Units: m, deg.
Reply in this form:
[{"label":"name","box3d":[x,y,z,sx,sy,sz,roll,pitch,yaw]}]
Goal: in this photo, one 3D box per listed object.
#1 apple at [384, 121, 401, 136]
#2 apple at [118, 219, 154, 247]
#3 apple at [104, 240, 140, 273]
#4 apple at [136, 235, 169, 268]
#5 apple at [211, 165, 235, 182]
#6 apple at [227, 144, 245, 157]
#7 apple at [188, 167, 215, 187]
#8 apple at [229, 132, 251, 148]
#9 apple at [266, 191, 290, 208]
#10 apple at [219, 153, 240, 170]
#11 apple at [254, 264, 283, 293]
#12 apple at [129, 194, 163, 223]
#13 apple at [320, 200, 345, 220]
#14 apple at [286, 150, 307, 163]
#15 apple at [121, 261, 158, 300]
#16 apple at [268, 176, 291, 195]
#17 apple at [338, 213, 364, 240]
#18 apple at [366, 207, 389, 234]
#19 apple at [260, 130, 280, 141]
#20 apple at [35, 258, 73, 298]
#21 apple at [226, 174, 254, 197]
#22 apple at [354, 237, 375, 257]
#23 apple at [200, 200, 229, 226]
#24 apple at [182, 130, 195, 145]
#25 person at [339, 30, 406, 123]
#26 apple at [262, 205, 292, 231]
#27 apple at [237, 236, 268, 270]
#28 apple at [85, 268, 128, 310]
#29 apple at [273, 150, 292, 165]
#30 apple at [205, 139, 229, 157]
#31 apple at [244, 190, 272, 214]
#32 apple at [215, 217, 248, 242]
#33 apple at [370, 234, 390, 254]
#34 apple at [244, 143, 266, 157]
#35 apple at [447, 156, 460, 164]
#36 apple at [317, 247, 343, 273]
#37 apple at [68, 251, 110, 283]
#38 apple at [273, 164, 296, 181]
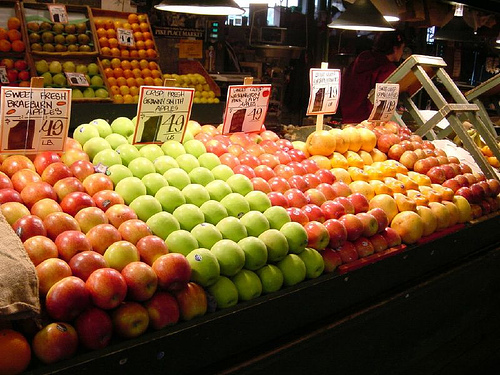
[{"label":"apple","box3d":[1.305,-0.539,3.228,0.140,0.092,0.166,33,22,-4]},{"label":"apple","box3d":[-0.496,0.168,1.512,0.099,0.127,0.105,9,13,32]},{"label":"apple","box3d":[-0.492,0.255,1.358,0.123,0.112,0.108,-7,-18,22]},{"label":"apple","box3d":[-0.405,0.254,1.479,0.108,0.110,0.110,-12,54,-12]},{"label":"apple","box3d":[-0.154,-0.068,2.013,0.104,0.091,0.089,8,28,-46]},{"label":"apple","box3d":[-0.092,-0.235,2.210,0.089,0.081,0.077,14,3,-1]},{"label":"apple","box3d":[-0.269,-0.060,1.900,0.115,0.104,0.100,-6,38,0]},{"label":"apple","box3d":[-0.065,-0.318,2.365,0.120,0.066,0.100,-11,56,-51]},{"label":"apple","box3d":[0.151,0.033,1.928,0.086,0.109,0.092,17,60,20]},{"label":"apple","box3d":[-0.118,-0.161,2.138,0.094,0.093,0.111,-39,77,-19]},{"label":"apple","box3d":[0.084,0.418,1.675,0.110,0.142,0.114,-2,-1,2]},{"label":"apple","box3d":[-0.475,0.091,1.664,0.104,0.123,0.108,16,14,-1]},{"label":"apple","box3d":[0.457,0.123,1.983,0.102,0.105,0.105,34,-11,21]},{"label":"apple","box3d":[0.304,-0.211,2.340,0.101,0.081,0.078,27,39,6]},{"label":"apple","box3d":[-0.417,0.353,1.342,0.131,0.126,0.099,-2,30,-18]},{"label":"apple","box3d":[0.164,-0.014,2.024,0.094,0.096,0.094,-7,-7,-12]},{"label":"apple","box3d":[0.568,0.213,2.015,0.130,0.128,0.124,-29,30,-35]},{"label":"apple","box3d":[0.753,0.197,2.092,0.126,0.130,0.130,-5,-3,11]},{"label":"apple","box3d":[0.137,-0.349,2.550,0.106,0.092,0.092,10,5,11]},{"label":"apple","box3d":[-0.678,0.291,1.234,0.119,0.121,0.120,11,8,-17]},{"label":"apple","box3d":[-0.048,-0.016,1.987,0.117,0.117,0.138,-43,78,-10]},{"label":"apple","box3d":[0.640,0.324,2.033,0.102,0.098,0.099,-3,6,-35]},{"label":"apple","box3d":[-0.175,0.118,1.795,0.110,0.111,0.135,-27,74,-13]},{"label":"apple","box3d":[-0.382,-0.310,2.205,0.070,0.089,0.073,-2,3,0]},{"label":"person","box3d":[1.742,-1.622,5.284,0.747,1.320,0.460,14,28,12]},{"label":"apple","box3d":[0.127,0.159,1.862,0.110,0.113,0.115,-16,11,46]},{"label":"apple","box3d":[0.006,0.294,1.631,0.133,0.138,0.139,-7,-10,-4]},{"label":"apple","box3d":[-0.507,0.361,1.286,0.129,0.136,0.130,4,-21,-36]},{"label":"apple","box3d":[0.205,-0.193,2.255,0.070,0.056,0.090,-11,39,-36]},{"label":"apple","box3d":[-0.202,-0.239,2.169,0.117,0.090,0.090,29,46,11]},{"label":"apple","box3d":[0.041,0.073,1.922,0.109,0.110,0.130,-26,65,-27]},{"label":"apple","box3d":[-0.068,0.219,1.703,0.089,0.089,0.091,-2,1,-25]},{"label":"apple","box3d":[0.755,0.326,2.089,0.096,0.099,0.098,2,-1,2]},{"label":"apple","box3d":[0.026,-0.246,2.293,0.085,0.059,0.106,13,23,0]},{"label":"apple","box3d":[1.780,-0.240,3.123,0.073,0.052,0.089,-2,9,-17]},{"label":"apple","box3d":[0.445,0.399,1.933,0.120,0.142,0.120,14,-24,-15]},{"label":"apple","box3d":[-0.578,0.278,1.291,0.124,0.111,0.106,5,-17,-9]},{"label":"apple","box3d":[0.216,-0.087,2.198,0.094,0.102,0.119,-36,70,-3]}]
